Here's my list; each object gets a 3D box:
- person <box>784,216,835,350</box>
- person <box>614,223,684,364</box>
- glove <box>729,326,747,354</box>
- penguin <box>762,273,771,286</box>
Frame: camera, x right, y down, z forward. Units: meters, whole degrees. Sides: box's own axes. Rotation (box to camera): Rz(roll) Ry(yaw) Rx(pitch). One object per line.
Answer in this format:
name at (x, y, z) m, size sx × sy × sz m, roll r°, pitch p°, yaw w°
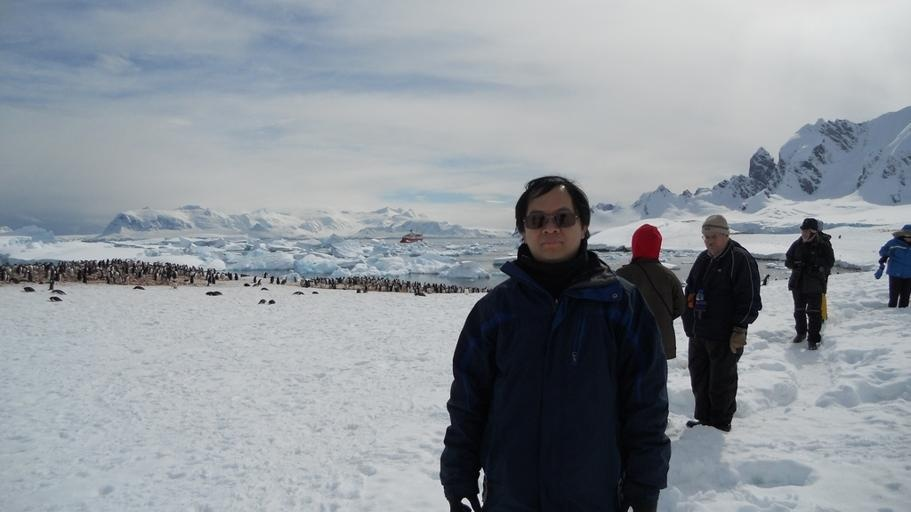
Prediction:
person at (8.222, 0.657, 14.888) m, size 1.049 × 2.826 × 1.390 m, roll 1°, pitch 1°, yaw 40°
person at (3.696, 0.617, 12.009) m, size 1.208 × 2.823 × 1.217 m, roll 0°, pitch 0°, yaw 19°
glove at (5.491, 1.619, 12.004) m, size 0.322 × 0.501 × 0.160 m, roll 0°, pitch 5°, yaw -11°
penguin at (15.727, 1.172, 31.462) m, size 0.243 × 0.307 × 0.568 m, roll -41°, pitch -22°, yaw 13°
